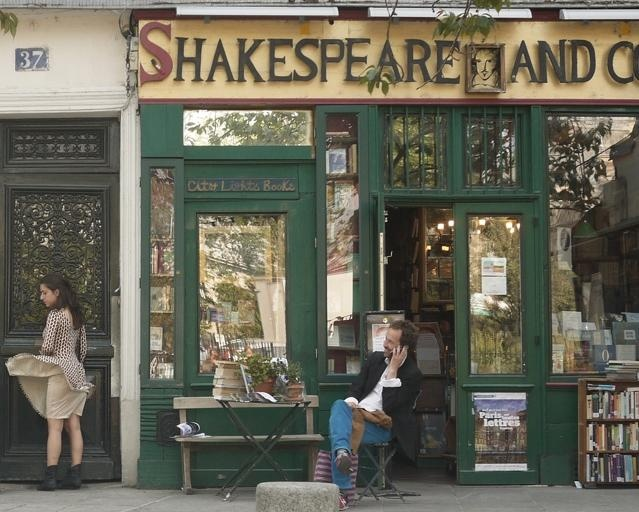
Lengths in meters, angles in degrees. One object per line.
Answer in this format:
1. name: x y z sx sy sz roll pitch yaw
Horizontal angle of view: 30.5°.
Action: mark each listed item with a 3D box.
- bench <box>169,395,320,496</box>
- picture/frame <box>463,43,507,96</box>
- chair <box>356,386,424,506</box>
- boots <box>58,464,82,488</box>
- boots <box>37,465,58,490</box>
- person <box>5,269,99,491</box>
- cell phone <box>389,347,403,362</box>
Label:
1. bench: -0.782 1.987 12.502 1.512 1.116 0.687 1 -14 -11
2. picture/frame: 1.829 -2.061 13.033 0.453 0.537 0.142 -1 -6 -6
3. chair: 0.743 2.250 12.465 0.531 0.905 0.659 0 -12 4
4. boots: -2.714 2.387 12.845 0.139 0.302 0.352 3 -1 -39
5. boots: -2.913 2.382 12.613 0.137 0.310 0.301 3 -2 -31
6. person: -2.880 1.352 12.780 0.804 2.310 0.518 0 -6 -12
7. cell phone: 0.770 0.998 12.015 0.112 0.116 0.090 -11 -26 41
